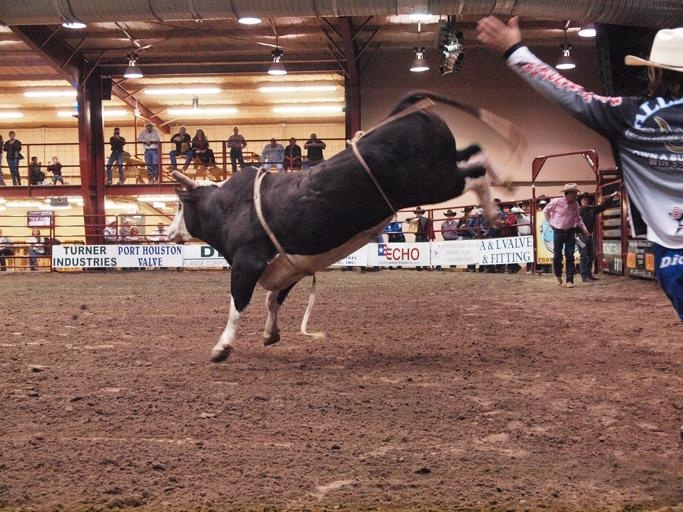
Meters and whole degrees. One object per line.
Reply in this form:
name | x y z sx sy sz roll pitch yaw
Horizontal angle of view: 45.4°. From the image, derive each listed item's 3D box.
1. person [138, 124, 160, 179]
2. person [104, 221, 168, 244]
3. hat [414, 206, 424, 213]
person | -5.277 -2.854 22.602 0.568 1.592 0.693 -7 9 -11
person | -5.827 -0.546 22.207 1.877 0.553 1.501 0 -4 -10
hat | 1.821 -1.095 18.961 0.264 0.073 0.233 -1 -6 4
